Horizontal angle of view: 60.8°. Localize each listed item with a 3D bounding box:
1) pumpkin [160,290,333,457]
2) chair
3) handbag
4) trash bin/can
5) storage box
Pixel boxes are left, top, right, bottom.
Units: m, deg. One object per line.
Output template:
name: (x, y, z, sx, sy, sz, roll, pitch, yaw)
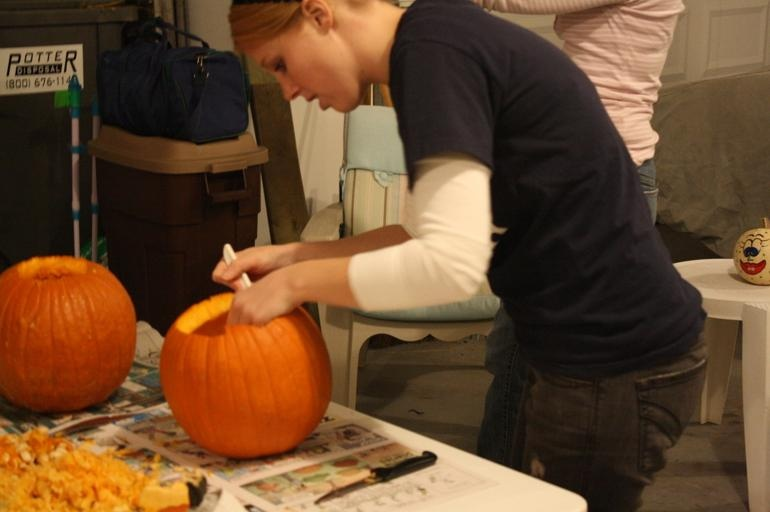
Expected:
pumpkin: (-0.289, 0.262, 1.418, 0.334, 0.300, 0.339, -7, 14, -4)
chair: (0.112, -0.046, 2.806, 0.829, 1.081, 0.748, 13, 12, 11)
handbag: (-0.921, -0.744, 2.767, 0.657, 0.470, 0.403, 13, 23, 35)
trash bin/can: (-0.911, -0.154, 2.911, 0.677, 0.784, 0.633, 15, 19, 34)
storage box: (-0.919, -0.151, 2.912, 0.676, 0.786, 0.632, 14, 17, 34)
